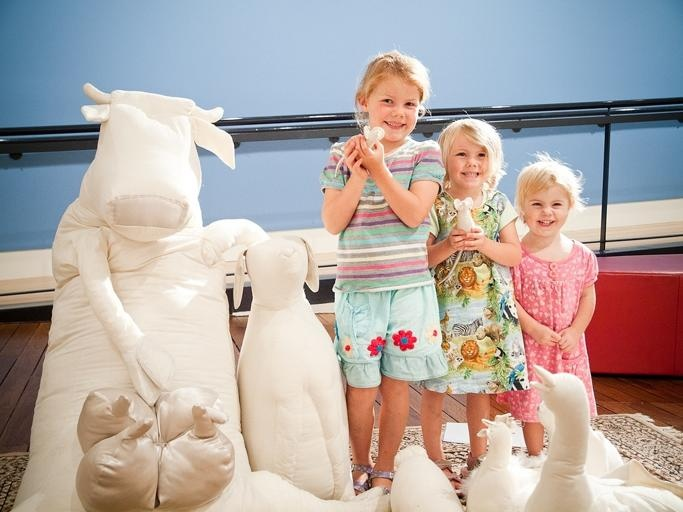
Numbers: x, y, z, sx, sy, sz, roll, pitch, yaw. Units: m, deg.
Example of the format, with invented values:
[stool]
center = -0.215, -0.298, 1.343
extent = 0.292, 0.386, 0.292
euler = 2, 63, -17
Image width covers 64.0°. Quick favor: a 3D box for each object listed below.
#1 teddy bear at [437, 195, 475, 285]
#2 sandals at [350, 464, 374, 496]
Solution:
[teddy bear]
center = 0.370, -0.053, 1.717
extent = 0.077, 0.268, 0.102
euler = 17, -12, -29
[sandals]
center = 0.058, 0.657, 1.586
extent = 0.071, 0.060, 0.212
euler = -2, -6, 0
